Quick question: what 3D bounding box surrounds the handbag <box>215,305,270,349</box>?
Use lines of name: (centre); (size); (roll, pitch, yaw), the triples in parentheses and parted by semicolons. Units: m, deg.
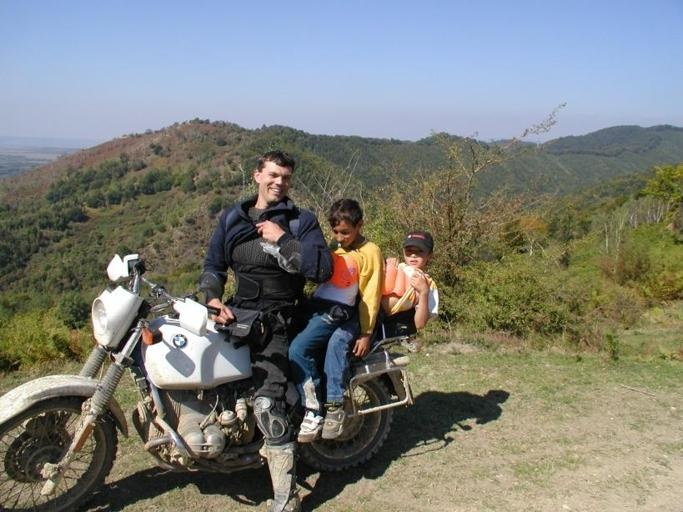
handbag: (-0.826, 0.590, 4.003); (0.327, 0.150, 0.337); (15, 25, 11)

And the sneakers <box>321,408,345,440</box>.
sneakers: (-0.071, 1.482, 4.229); (0.129, 0.172, 0.377); (-1, -3, 6)
